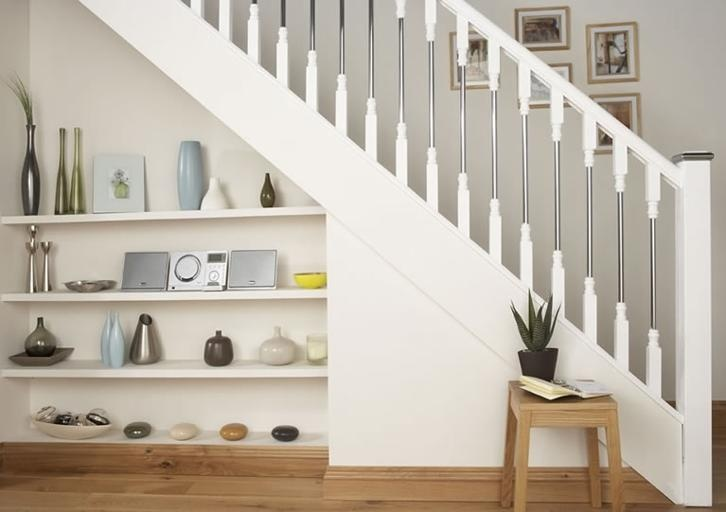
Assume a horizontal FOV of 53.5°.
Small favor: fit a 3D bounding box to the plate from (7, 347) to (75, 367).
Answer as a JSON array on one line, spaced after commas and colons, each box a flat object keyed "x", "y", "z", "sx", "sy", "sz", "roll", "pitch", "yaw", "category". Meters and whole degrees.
[{"x": -1.958, "y": 0.619, "z": 4.402, "sx": 0.358, "sy": 0.099, "sz": 0.195, "roll": -1, "pitch": 0, "yaw": -25, "category": "plate"}]

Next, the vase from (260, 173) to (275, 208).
[{"x": -0.582, "y": -0.403, "z": 4.370, "sx": 0.100, "sy": 0.157, "sz": 0.231, "roll": -1, "pitch": 0, "yaw": -7, "category": "vase"}]

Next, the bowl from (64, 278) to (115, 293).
[{"x": -1.650, "y": 0.186, "z": 4.387, "sx": 0.302, "sy": 0.066, "sz": 0.187, "roll": -1, "pitch": 0, "yaw": -24, "category": "bowl"}]

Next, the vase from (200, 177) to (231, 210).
[{"x": -0.916, "y": -0.386, "z": 4.448, "sx": 0.190, "sy": 0.268, "sz": 0.196, "roll": -1, "pitch": 2, "yaw": -18, "category": "vase"}]

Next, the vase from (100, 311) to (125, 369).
[{"x": -1.517, "y": 0.519, "z": 4.375, "sx": 0.120, "sy": 0.404, "sz": 0.287, "roll": 0, "pitch": -6, "yaw": -19, "category": "vase"}]

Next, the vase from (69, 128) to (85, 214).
[{"x": -1.790, "y": -0.540, "z": 4.509, "sx": 0.095, "sy": 0.477, "sz": 0.062, "roll": -1, "pitch": 0, "yaw": -21, "category": "vase"}]

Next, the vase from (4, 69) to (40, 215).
[{"x": -2.062, "y": -0.680, "z": 4.459, "sx": 0.162, "sy": 0.792, "sz": 0.202, "roll": -1, "pitch": 0, "yaw": 6, "category": "vase"}]

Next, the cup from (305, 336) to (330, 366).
[{"x": -0.279, "y": 0.559, "z": 4.213, "sx": 0.150, "sy": 0.167, "sz": 0.150, "roll": 1, "pitch": -5, "yaw": 0, "category": "cup"}]

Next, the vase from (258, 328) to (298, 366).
[{"x": -0.520, "y": 0.529, "z": 4.362, "sx": 0.234, "sy": 0.220, "sz": 0.238, "roll": 7, "pitch": 11, "yaw": 29, "category": "vase"}]

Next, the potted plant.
[{"x": 0.935, "y": 0.423, "z": 3.872, "sx": 0.273, "sy": 0.468, "sz": 0.226, "roll": -1, "pitch": 0, "yaw": 1, "category": "potted plant"}]

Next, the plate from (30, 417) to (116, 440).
[{"x": -1.766, "y": 1.042, "z": 4.368, "sx": 0.470, "sy": 0.105, "sz": 0.289, "roll": -1, "pitch": 0, "yaw": -11, "category": "plate"}]
